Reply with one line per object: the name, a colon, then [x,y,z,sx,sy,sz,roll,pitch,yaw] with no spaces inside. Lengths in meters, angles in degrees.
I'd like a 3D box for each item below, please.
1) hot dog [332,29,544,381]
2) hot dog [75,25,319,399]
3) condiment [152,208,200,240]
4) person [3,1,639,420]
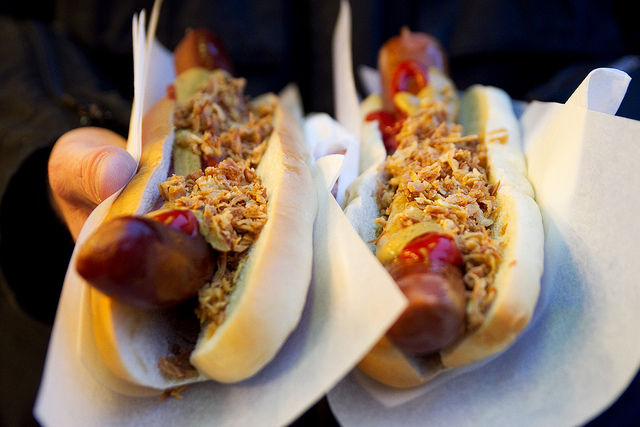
hot dog: [0.310,-0.080,1.626,0.395,0.302,0.906,-1,42,0]
hot dog: [-0.265,0.030,1.516,0.530,0.378,0.740,-1,40,-1]
condiment: [-0.298,0.015,1.315,0.061,0.031,0.083,5,22,-23]
person: [-0.219,-0.073,2.296,1.228,0.337,1.873,-5,48,-2]
